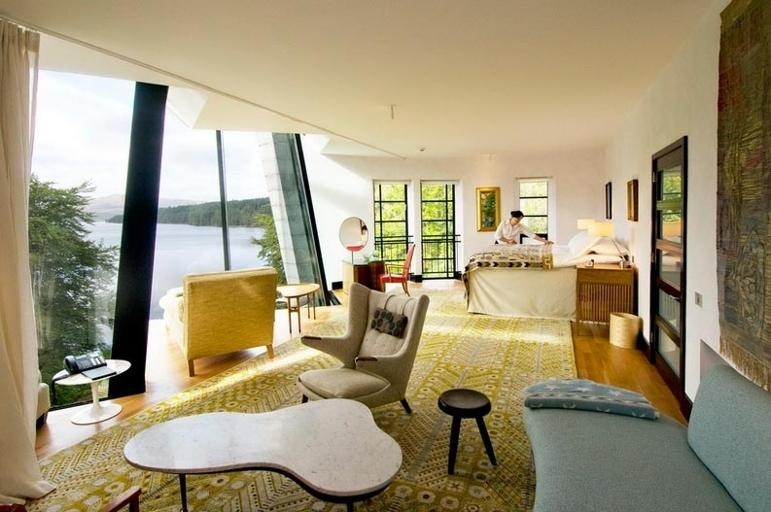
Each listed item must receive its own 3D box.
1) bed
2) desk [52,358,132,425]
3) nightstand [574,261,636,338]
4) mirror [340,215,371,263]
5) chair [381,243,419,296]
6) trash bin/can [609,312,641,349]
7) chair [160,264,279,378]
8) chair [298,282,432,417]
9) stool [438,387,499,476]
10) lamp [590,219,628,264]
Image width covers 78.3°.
[{"bbox_3d":[2.535,0.242,8.593,2.824,1.250,2.832,4,6,10],"label":"bed"},{"bbox_3d":[-2.940,1.390,4.767,0.651,0.448,0.617,-7,6,-37],"label":"desk"},{"bbox_3d":[3.154,0.642,6.886,0.778,0.915,0.640,1,-8,35],"label":"nightstand"},{"bbox_3d":[-0.698,-0.428,9.920,0.581,0.724,0.313,-3,14,-6],"label":"mirror"},{"bbox_3d":[0.202,0.303,9.405,0.687,0.930,0.663,-2,3,-7],"label":"chair"},{"bbox_3d":[3.033,0.991,6.267,0.404,0.427,0.406,-1,3,-1],"label":"trash bin/can"},{"bbox_3d":[-2.378,0.672,6.526,1.244,1.147,2.096,-1,4,-29],"label":"chair"},{"bbox_3d":[-0.277,0.915,4.650,1.161,1.074,1.126,5,5,38],"label":"chair"},{"bbox_3d":[0.693,1.480,4.030,0.509,0.503,0.483,-5,1,28],"label":"stool"},{"bbox_3d":[3.329,-0.259,7.189,0.575,0.530,0.913,3,14,16],"label":"lamp"}]
